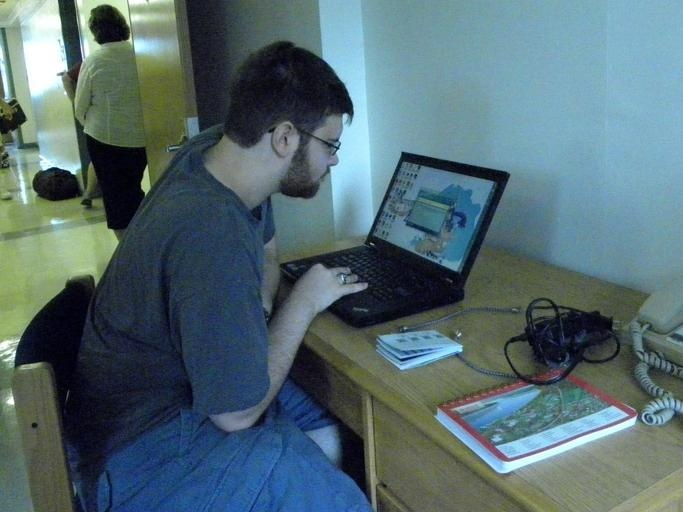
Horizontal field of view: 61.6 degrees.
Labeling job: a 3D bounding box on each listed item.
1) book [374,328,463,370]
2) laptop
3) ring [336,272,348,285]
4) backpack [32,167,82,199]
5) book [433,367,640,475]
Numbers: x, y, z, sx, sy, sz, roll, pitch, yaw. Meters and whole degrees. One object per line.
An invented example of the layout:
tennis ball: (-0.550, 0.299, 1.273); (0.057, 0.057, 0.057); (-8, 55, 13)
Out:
book: (0.174, 0.201, 1.279); (0.102, 0.028, 0.102); (-13, 23, -27)
laptop: (0.155, -0.043, 1.598); (0.521, 0.379, 0.543); (-2, 17, -30)
ring: (0.003, 0.060, 1.499); (0.027, 0.012, 0.024); (-7, 19, -25)
backpack: (-1.873, -0.468, 3.759); (0.216, 0.165, 0.224); (-10, 28, -34)
book: (0.360, 0.300, 1.067); (0.226, 0.046, 0.170); (-14, 19, -20)
